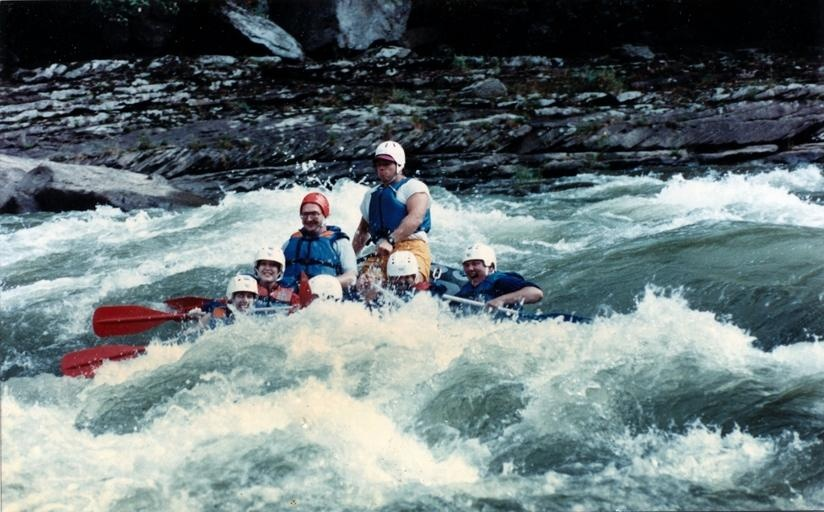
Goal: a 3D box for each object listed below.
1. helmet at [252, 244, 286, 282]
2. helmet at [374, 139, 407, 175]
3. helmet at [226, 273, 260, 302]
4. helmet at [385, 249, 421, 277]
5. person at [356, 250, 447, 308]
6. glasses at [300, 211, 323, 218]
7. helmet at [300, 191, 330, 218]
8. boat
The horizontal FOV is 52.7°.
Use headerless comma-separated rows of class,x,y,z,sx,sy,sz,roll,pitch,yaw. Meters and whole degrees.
helmet,-1.604,0.077,9.514,0.365,0.339,0.402,3,-7,-3
helmet,-0.243,-1.212,9.978,0.484,0.347,0.337,-17,27,-33
helmet,-1.908,0.353,9.381,0.272,0.230,0.340,3,-22,-17
helmet,-0.120,0.087,9.531,0.280,0.329,0.250,-1,34,4
person,-0.187,0.330,9.770,0.700,0.428,0.899,-3,-20,6
glasses,-1.160,-0.484,9.751,0.275,0.079,0.093,-4,18,-17
helmet,-1.134,-0.632,9.894,0.343,0.249,0.342,1,-14,7
boat,-0.387,0.318,9.785,3.763,0.836,1.008,-6,-8,-8
